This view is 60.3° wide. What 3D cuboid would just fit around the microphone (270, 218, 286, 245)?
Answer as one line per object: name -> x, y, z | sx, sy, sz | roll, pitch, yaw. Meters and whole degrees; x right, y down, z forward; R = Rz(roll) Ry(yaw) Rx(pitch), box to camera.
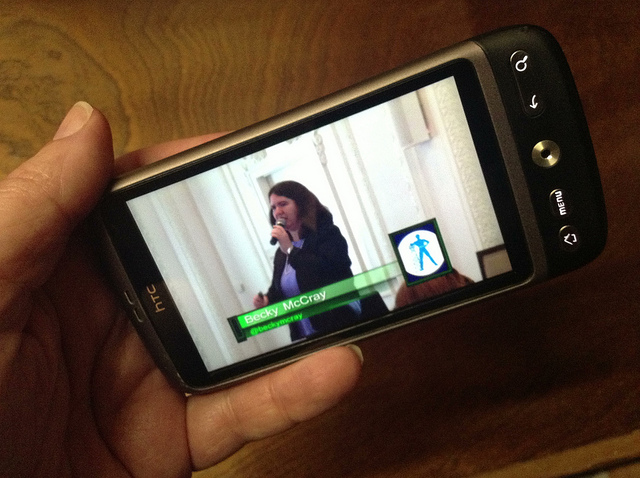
microphone -> -0.063, -0.011, 0.895 | 0.017, 0.045, 0.020 | 22, 5, 13
